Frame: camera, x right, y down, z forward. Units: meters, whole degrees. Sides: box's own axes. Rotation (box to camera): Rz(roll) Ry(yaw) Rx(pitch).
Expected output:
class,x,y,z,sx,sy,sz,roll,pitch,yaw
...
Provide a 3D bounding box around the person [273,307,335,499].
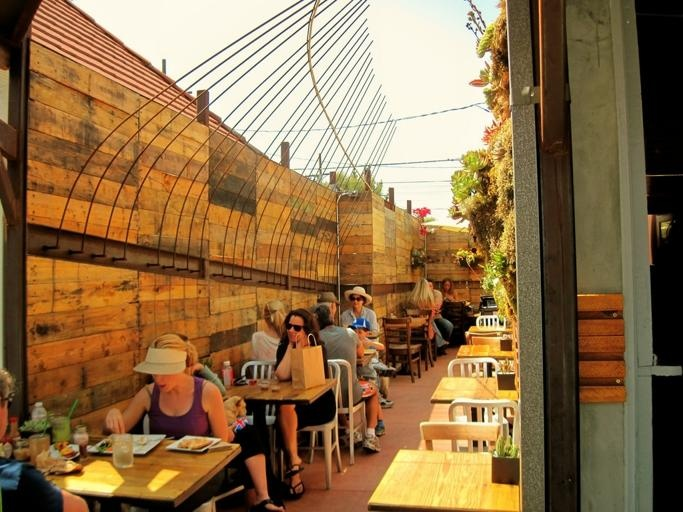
class,x,y,z,sx,sy,sz,roll,pitch,yaw
person,-0.322,1.235,5.749,0.654,1.468,0.634,-12,-16,28

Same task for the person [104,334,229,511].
class,x,y,z,sx,sy,sz,roll,pitch,yaw
person,-1.183,1.101,4.238,0.763,1.375,0.755,-9,-12,22

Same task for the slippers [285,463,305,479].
class,x,y,z,sx,sy,sz,roll,pitch,yaw
slippers,-0.445,2.020,5.333,0.167,0.125,0.144,-1,-7,-16

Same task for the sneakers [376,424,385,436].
class,x,y,z,sx,sy,sz,roll,pitch,yaw
sneakers,0.475,2.126,6.901,0.092,0.130,0.273,-3,-17,4

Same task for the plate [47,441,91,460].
class,x,y,z,sx,sy,sz,roll,pitch,yaw
plate,-1.746,1.238,3.582,0.134,0.034,0.152,3,-5,10

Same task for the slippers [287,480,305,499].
class,x,y,z,sx,sy,sz,roll,pitch,yaw
slippers,-0.422,2.162,5.237,0.144,0.146,0.101,-2,-7,-8

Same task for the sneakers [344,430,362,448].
class,x,y,z,sx,sy,sz,roll,pitch,yaw
sneakers,0.148,2.082,6.421,0.213,0.121,0.309,1,-5,-9

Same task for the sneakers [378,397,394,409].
class,x,y,z,sx,sy,sz,roll,pitch,yaw
sneakers,0.607,2.150,8.303,0.313,0.164,0.129,-4,-4,16

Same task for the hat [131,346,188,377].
class,x,y,z,sx,sy,sz,roll,pitch,yaw
hat,-1.286,0.745,4.019,0.332,0.206,0.195,0,-7,-21

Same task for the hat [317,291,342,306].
class,x,y,z,sx,sy,sz,roll,pitch,yaw
hat,-0.183,0.628,8.494,0.245,0.136,0.183,-2,1,-35

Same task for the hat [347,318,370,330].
class,x,y,z,sx,sy,sz,roll,pitch,yaw
hat,0.274,1.035,8.695,0.268,0.161,0.175,2,-2,-11

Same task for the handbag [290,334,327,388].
class,x,y,z,sx,sy,sz,roll,pitch,yaw
handbag,-0.328,1.008,5.381,0.177,0.568,0.383,-9,-10,38
